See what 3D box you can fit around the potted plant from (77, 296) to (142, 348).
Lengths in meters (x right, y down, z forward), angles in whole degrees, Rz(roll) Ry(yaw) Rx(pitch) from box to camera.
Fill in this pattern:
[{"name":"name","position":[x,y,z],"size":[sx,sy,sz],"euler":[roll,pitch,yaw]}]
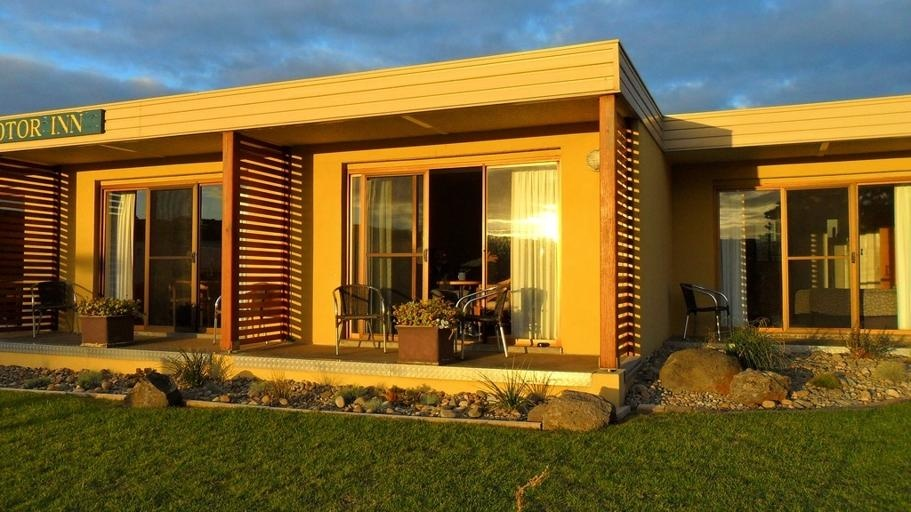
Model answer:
[{"name":"potted plant","position":[-6.914,1.204,15.133],"size":[0.911,1.041,1.125],"euler":[0,-2,-24]}]

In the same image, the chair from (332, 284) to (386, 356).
[{"name":"chair","position":[-1.841,1.131,14.425],"size":[1.104,1.193,1.038],"euler":[-1,-2,-32]}]

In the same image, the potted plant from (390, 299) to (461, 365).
[{"name":"potted plant","position":[-0.476,1.365,13.637],"size":[1.323,1.018,1.326],"euler":[2,-5,-8]}]

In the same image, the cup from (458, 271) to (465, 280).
[{"name":"cup","position":[0.124,0.378,14.748],"size":[0.158,0.147,0.146],"euler":[2,0,0]}]

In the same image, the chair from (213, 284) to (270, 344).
[{"name":"chair","position":[-4.488,1.143,15.053],"size":[1.732,0.926,1.134],"euler":[-8,-7,44]}]

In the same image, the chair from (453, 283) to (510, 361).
[{"name":"chair","position":[0.497,1.124,13.944],"size":[0.978,1.161,0.974],"euler":[1,0,-18]}]

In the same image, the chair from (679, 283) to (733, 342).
[{"name":"chair","position":[5.115,1.122,15.906],"size":[0.948,1.236,0.942],"euler":[-1,-3,12]}]
